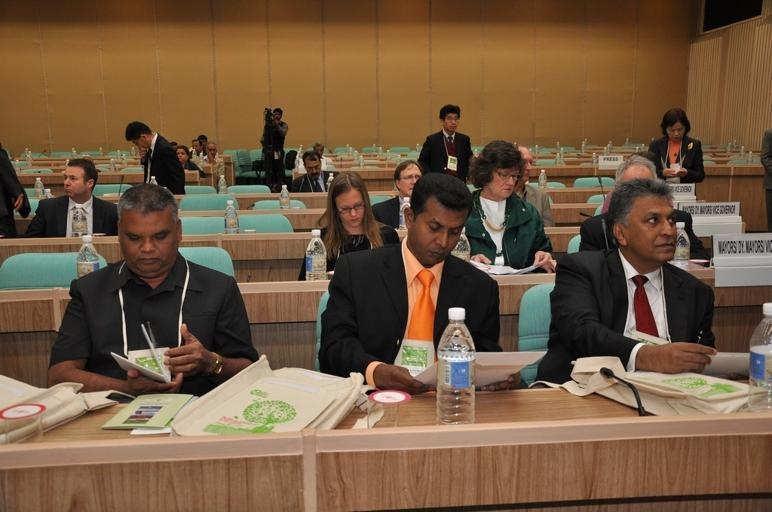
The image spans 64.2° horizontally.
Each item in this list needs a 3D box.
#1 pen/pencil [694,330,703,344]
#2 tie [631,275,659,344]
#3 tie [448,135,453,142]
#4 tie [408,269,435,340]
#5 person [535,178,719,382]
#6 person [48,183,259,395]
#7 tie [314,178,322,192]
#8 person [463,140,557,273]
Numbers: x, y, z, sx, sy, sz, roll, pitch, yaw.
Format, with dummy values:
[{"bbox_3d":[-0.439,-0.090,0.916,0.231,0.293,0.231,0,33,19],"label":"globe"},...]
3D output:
[{"bbox_3d":[1.512,0.386,2.966,0.016,0.048,0.029,0,37,0],"label":"pen/pencil"},{"bbox_3d":[1.246,0.258,2.928,0.103,0.301,0.070,-4,-16,13],"label":"tie"},{"bbox_3d":[0.890,-1.589,8.320,0.056,0.030,0.081,-2,-20,9],"label":"tie"},{"bbox_3d":[0.161,0.224,2.796,0.116,0.308,0.130,-2,9,5],"label":"tie"},{"bbox_3d":[1.170,0.123,2.976,0.694,0.959,0.622,-10,12,-38],"label":"person"},{"bbox_3d":[-1.104,0.301,2.841,0.869,1.195,0.787,1,0,-6],"label":"person"},{"bbox_3d":[-0.940,-1.005,8.655,0.106,0.211,0.083,0,-34,-4],"label":"tie"},{"bbox_3d":[0.903,-0.249,4.723,0.762,1.205,0.732,-1,7,6],"label":"person"}]
